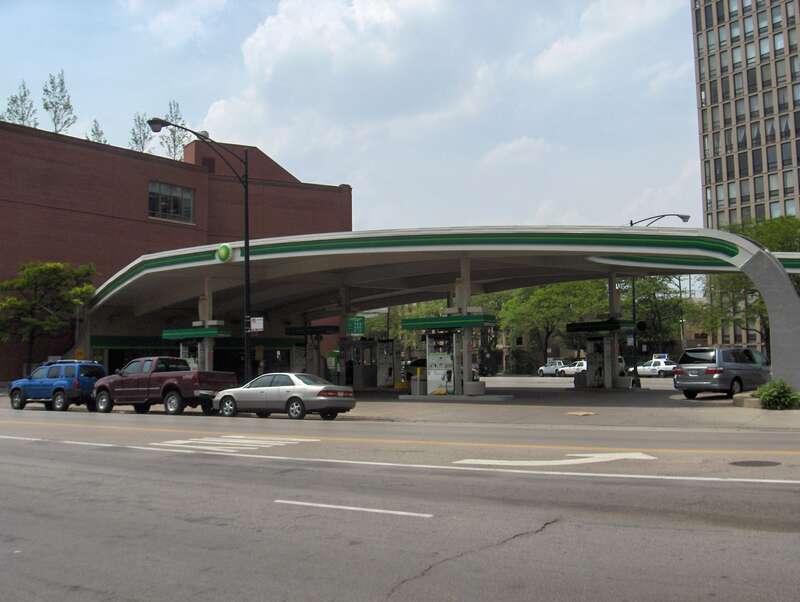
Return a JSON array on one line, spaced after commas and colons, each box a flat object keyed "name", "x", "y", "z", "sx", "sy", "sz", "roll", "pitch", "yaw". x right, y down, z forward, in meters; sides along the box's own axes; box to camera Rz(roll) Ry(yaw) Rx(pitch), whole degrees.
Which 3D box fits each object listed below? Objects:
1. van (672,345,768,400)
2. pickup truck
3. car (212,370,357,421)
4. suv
[{"name": "van", "x": 13.873, "y": 2.967, "z": 32.002, "sx": 1.944, "sy": 1.529, "sz": 4.104, "roll": -4, "pitch": -4, "yaw": 43}, {"name": "pickup truck", "x": -9.014, "y": 3.209, "z": 28.809, "sx": 4.866, "sy": 1.818, "sz": 2.427, "roll": -1, "pitch": -6, "yaw": 31}, {"name": "car", "x": -3.866, "y": 3.154, "z": 25.122, "sx": 4.785, "sy": 1.545, "sz": 0.750, "roll": -6, "pitch": -9, "yaw": 25}, {"name": "suv", "x": -14.278, "y": 3.539, "z": 31.876, "sx": 4.007, "sy": 2.074, "sz": 2.023, "roll": -1, "pitch": -6, "yaw": 33}]
